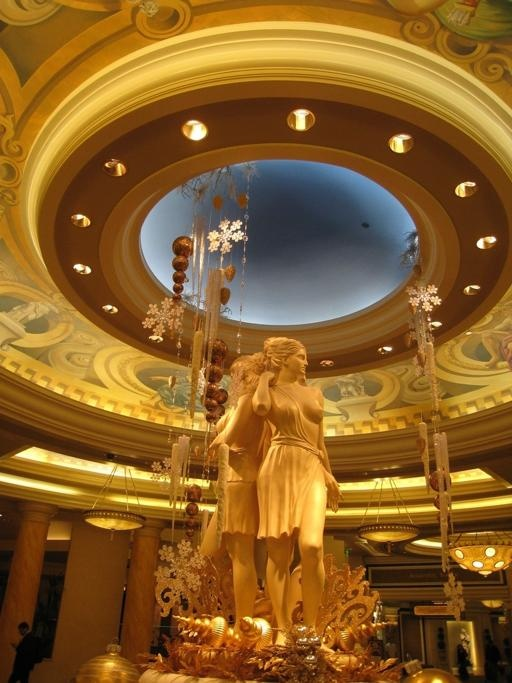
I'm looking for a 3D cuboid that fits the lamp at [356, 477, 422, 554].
[{"bbox_3d":[2.554,3.390,9.375,1.178,1.446,1.093,-3,-2,-2],"label":"lamp"}]

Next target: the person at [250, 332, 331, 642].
[{"bbox_3d":[0.185,0.679,2.814,0.462,1.869,0.718,1,-28,7],"label":"person"}]
